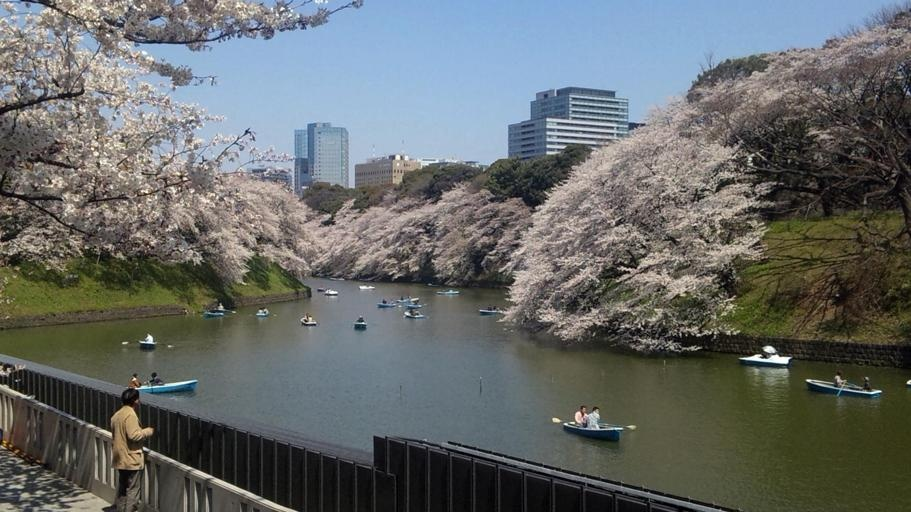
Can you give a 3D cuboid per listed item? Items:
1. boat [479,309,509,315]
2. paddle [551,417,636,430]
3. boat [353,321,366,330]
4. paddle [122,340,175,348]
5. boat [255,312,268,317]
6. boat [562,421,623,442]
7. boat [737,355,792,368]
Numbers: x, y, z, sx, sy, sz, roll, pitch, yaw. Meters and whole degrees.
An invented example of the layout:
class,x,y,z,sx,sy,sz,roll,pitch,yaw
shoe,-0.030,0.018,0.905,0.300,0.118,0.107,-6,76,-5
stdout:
class,x,y,z,sx,sy,sz,roll,pitch,yaw
boat,2.129,3.769,56.829,2.025,0.316,0.553,-1,1,-22
paddle,5.235,6.319,31.816,2.341,0.363,0.590,0,1,32
boat,-5.705,4.138,50.088,0.534,0.319,1.445,-1,-1,-4
paddle,-15.711,4.496,42.900,2.542,0.156,0.405,-2,-18,11
boat,-12.672,3.833,55.389,0.721,0.256,0.852,-2,6,-16
boat,5.071,6.499,31.278,2.056,0.450,0.721,0,2,41
boat,14.043,4.804,38.495,1.448,0.308,0.897,0,1,24
